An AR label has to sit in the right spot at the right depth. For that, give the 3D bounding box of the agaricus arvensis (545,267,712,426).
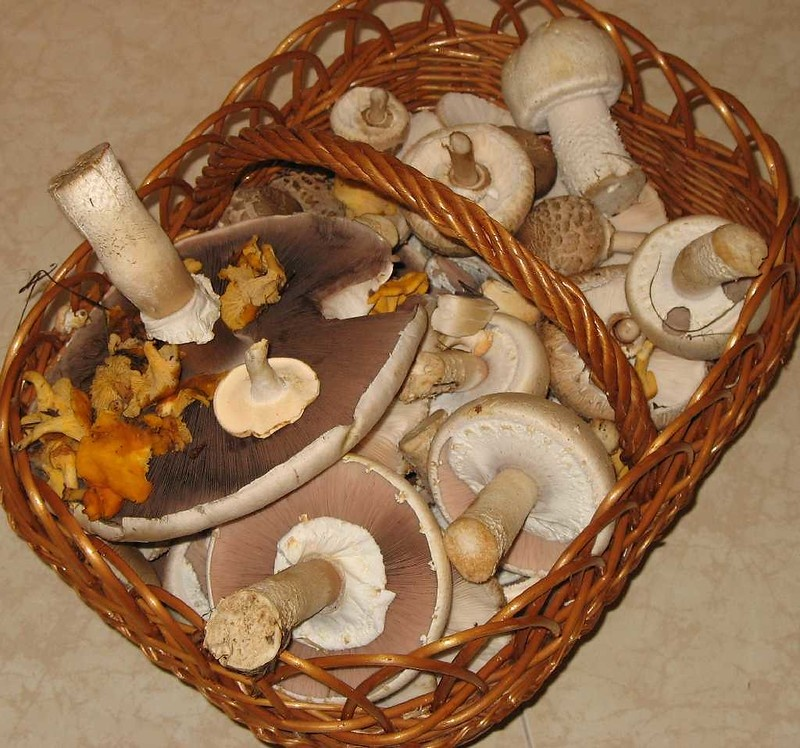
[{"bbox_3d":[0.449,-0.053,2.108,0.455,0.149,0.298,0,91,2],"label":"agaricus arvensis"}]

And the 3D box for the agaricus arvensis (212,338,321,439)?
[{"bbox_3d":[-0.236,0.035,1.961,0.252,0.131,0.178,-4,53,20],"label":"agaricus arvensis"}]

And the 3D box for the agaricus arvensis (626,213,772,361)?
[{"bbox_3d":[0.621,-0.169,2.068,0.291,0.234,0.275,21,21,23],"label":"agaricus arvensis"}]
